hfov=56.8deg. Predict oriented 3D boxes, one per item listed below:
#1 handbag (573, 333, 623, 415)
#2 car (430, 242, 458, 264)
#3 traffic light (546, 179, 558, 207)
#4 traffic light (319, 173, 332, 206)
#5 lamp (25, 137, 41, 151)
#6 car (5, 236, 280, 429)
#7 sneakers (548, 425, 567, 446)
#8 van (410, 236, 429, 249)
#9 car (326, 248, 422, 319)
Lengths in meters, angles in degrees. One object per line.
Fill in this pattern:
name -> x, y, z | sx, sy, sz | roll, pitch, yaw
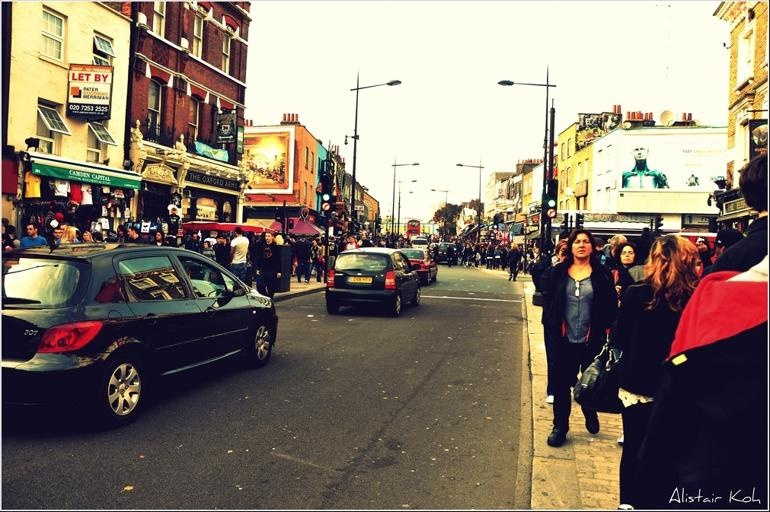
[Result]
handbag -> 1.960, 1.157, 6.478 | 0.297, 0.550, 0.533 | 11, -7, 41
car -> 4.174, -0.099, 48.418 | 1.121, 1.002, 2.483 | 1, 8, 5
traffic light -> 5.150, -1.933, 21.883 | 0.302, 0.896, 0.591 | 2, 8, 7
traffic light -> -1.854, -2.117, 22.601 | 0.382, 0.964, 0.963 | 1, 8, -5
lamp -> -9.768, -3.122, 19.735 | 0.271, 0.411, 0.429 | 1, -4, -11
car -> -3.114, 0.715, 8.743 | 1.322, 1.272, 2.850 | 1, 4, 26
sneakers -> 1.894, 1.958, 7.780 | 0.198, 0.175, 0.351 | 4, 8, 19
van -> 3.115, -1.224, 64.728 | 1.257, 1.051, 2.828 | 2, 9, 7
car -> -0.191, 0.524, 17.209 | 1.284, 0.990, 2.177 | 0, 5, 13
